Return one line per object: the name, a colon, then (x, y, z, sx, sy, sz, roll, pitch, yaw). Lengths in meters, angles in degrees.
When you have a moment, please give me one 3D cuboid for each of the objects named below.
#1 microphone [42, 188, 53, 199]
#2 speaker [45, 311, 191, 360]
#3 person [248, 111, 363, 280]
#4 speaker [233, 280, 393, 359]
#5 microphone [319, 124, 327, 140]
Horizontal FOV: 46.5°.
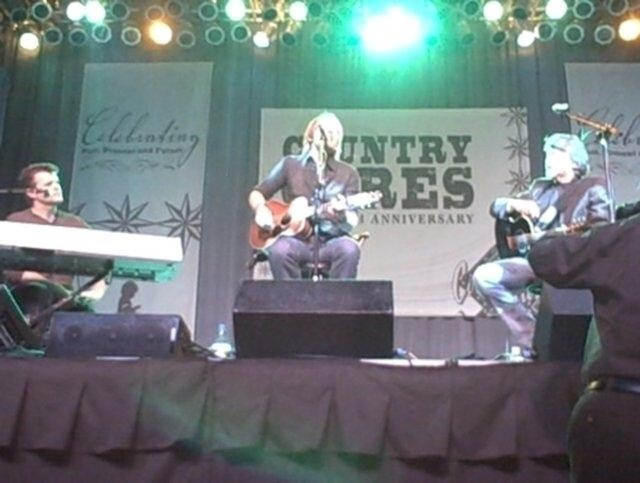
microphone: (-2.281, -0.393, 6.149, 0.062, 0.063, 0.060, -2, -2, -13)
speaker: (-1.102, 0.494, 3.911, 0.695, 0.227, 0.066, 0, 1, -2)
person: (-0.066, -0.351, 5.323, 0.816, 1.214, 0.801, 0, 1, -9)
speaker: (-0.019, 0.354, 4.065, 0.791, 0.411, 0.388, 1, 4, 0)
microphone: (0.023, -0.806, 5.539, 0.056, 0.094, 0.019, -19, 18, 11)
